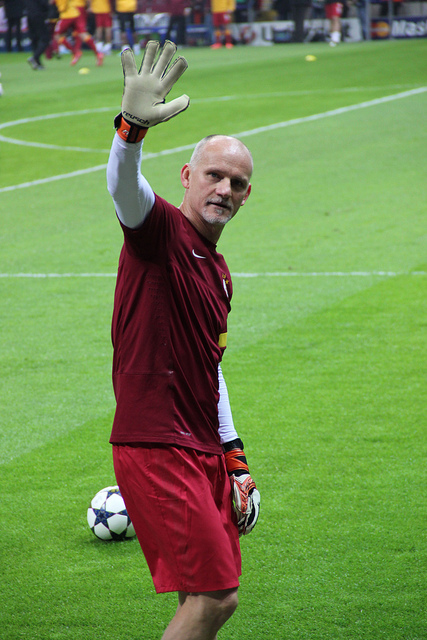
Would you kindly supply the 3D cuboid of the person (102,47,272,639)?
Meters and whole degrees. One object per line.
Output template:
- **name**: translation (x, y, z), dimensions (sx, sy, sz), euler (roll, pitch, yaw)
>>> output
- **person**: translation (-0.086, 0.057, 2.524), dimensions (0.395, 1.461, 0.579), euler (-3, 12, 2)

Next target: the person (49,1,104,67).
- **person**: translation (-2.286, -4.856, 16.575), dimensions (0.727, 0.984, 2.027), euler (-4, 12, -6)
